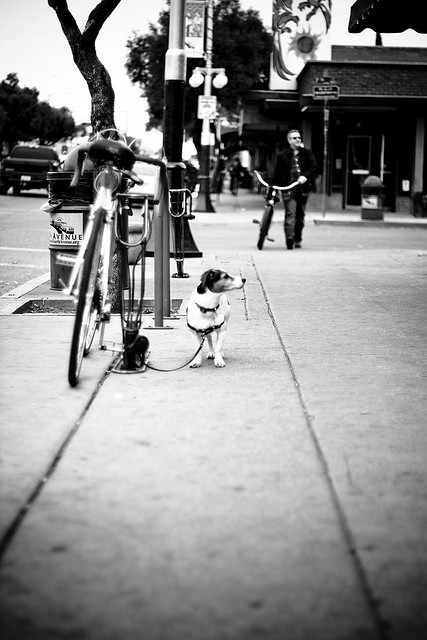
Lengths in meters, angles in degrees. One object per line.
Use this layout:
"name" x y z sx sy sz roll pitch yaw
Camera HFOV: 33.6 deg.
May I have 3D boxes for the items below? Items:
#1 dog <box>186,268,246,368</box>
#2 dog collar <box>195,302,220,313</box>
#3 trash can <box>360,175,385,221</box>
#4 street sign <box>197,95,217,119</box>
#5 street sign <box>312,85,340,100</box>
"dog" 0.013 -0.012 4.809 0.376 0.667 0.554 1 6 -1
"dog collar" -0.040 -0.080 4.610 0.160 0.065 0.079 0 6 -7
"trash can" 4.870 -3.648 21.441 0.757 1.353 0.797 -4 9 -32
"street sign" -0.225 -7.944 26.400 0.706 0.913 0.672 0 6 -8
"street sign" 3.365 -6.799 21.176 0.666 0.471 0.092 1 -2 5
